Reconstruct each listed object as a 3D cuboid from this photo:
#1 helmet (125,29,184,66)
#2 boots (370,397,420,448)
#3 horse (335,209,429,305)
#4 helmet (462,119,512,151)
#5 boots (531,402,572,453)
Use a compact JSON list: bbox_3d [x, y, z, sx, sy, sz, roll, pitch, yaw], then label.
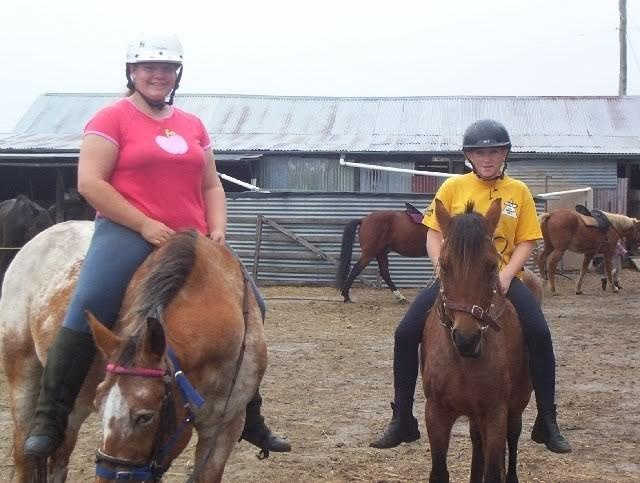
[{"bbox_3d":[-1.237,-1.462,7.131,0.429,0.262,0.568,-2,15,-21],"label":"helmet"},{"bbox_3d":[0.596,1.476,7.699,0.483,0.356,0.185,-9,11,-28],"label":"boots"},{"bbox_3d":[1.590,0.152,16.230,2.565,1.834,0.630,2,0,19],"label":"horse"},{"bbox_3d":[1.374,-0.912,7.848,0.404,0.263,0.554,-3,1,13],"label":"helmet"},{"bbox_3d":[1.841,1.454,7.470,0.172,0.350,0.487,-2,8,-19],"label":"boots"}]
